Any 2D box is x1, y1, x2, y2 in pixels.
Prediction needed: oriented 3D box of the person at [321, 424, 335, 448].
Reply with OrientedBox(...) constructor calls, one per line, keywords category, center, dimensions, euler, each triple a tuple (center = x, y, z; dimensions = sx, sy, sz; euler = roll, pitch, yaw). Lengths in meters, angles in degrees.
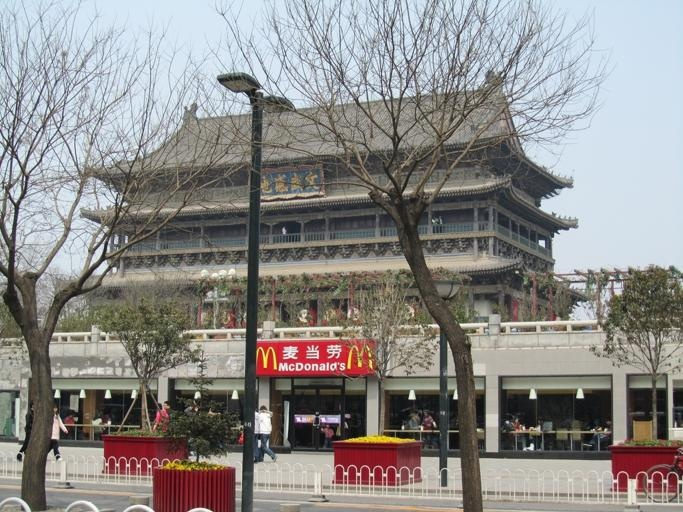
OrientedBox(category="person", center=(-0.467, 6.215, 55.311), dimensions=(0.337, 0.829, 0.297), euler=(-6, -11, 32))
